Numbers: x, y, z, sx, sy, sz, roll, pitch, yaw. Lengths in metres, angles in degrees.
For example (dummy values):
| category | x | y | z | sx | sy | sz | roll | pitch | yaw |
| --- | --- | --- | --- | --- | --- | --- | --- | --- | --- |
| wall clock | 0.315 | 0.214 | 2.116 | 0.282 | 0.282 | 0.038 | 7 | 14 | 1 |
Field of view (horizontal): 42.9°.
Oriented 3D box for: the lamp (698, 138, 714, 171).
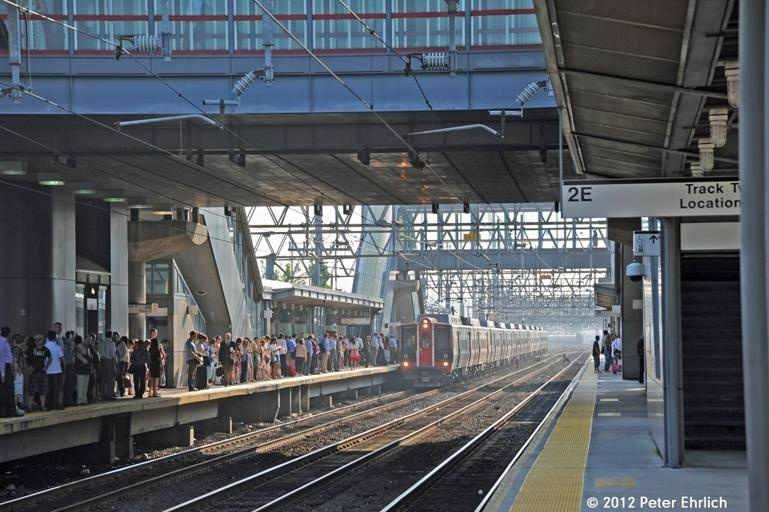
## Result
| category | x | y | z | sx | sy | sz | roll | pitch | yaw |
| --- | --- | --- | --- | --- | --- | --- | --- | --- | --- |
| lamp | 5.325 | -1.583 | 16.289 | 0.237 | 0.494 | 0.480 | -4 | -4 | 17 |

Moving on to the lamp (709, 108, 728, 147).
| category | x | y | z | sx | sy | sz | roll | pitch | yaw |
| --- | --- | --- | --- | --- | --- | --- | --- | --- | --- |
| lamp | 5.170 | -1.880 | 15.211 | 0.296 | 0.364 | 0.356 | -5 | -4 | 18 |

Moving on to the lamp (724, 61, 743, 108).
| category | x | y | z | sx | sy | sz | roll | pitch | yaw |
| --- | --- | --- | --- | --- | --- | --- | --- | --- | --- |
| lamp | 5.011 | -2.351 | 14.203 | 0.177 | 0.410 | 0.608 | -5 | -4 | 19 |

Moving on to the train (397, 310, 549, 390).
| category | x | y | z | sx | sy | sz | roll | pitch | yaw |
| --- | --- | --- | --- | --- | --- | --- | --- | --- | --- |
| train | 6.404 | 6.540 | 65.063 | 2.933 | 4.763 | 41.950 | -3 | -7 | 15 |
